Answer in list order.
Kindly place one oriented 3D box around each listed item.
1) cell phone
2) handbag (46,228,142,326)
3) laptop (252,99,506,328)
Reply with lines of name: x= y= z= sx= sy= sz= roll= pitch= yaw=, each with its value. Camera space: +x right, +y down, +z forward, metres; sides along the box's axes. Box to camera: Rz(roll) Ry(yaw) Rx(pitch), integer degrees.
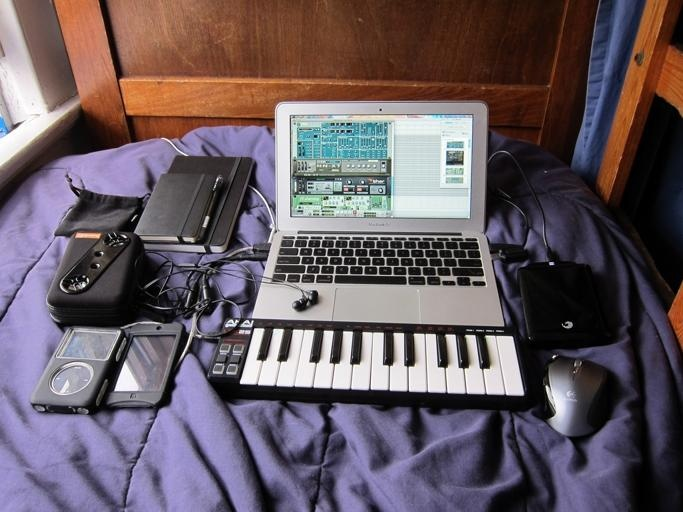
cell phone: x=-0.397 y=0.216 z=1.009 sx=0.115 sy=0.036 sz=0.172 roll=-1 pitch=45 yaw=2
handbag: x=-0.553 y=0.049 z=1.128 sx=0.178 sy=0.090 sz=0.227 roll=-3 pitch=44 yaw=0
laptop: x=0.086 y=-0.117 z=1.156 sx=0.546 sy=0.271 sz=0.502 roll=0 pitch=44 yaw=3
